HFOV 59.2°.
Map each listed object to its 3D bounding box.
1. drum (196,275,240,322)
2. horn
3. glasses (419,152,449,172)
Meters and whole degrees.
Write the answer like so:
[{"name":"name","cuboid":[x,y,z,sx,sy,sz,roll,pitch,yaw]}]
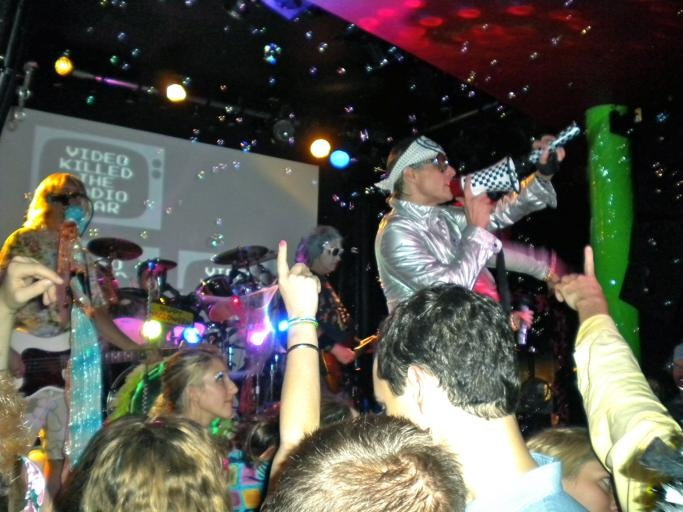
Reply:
[{"name":"drum","cuboid":[-1.179,0.414,5.996,0.358,0.489,0.330,0,4,0]},{"name":"horn","cuboid":[0.714,-0.331,2.958,0.270,0.180,0.167,-19,-34,23]},{"name":"glasses","cuboid":[0.476,-0.497,3.154,0.101,0.050,0.134,-14,-12,-44]}]
